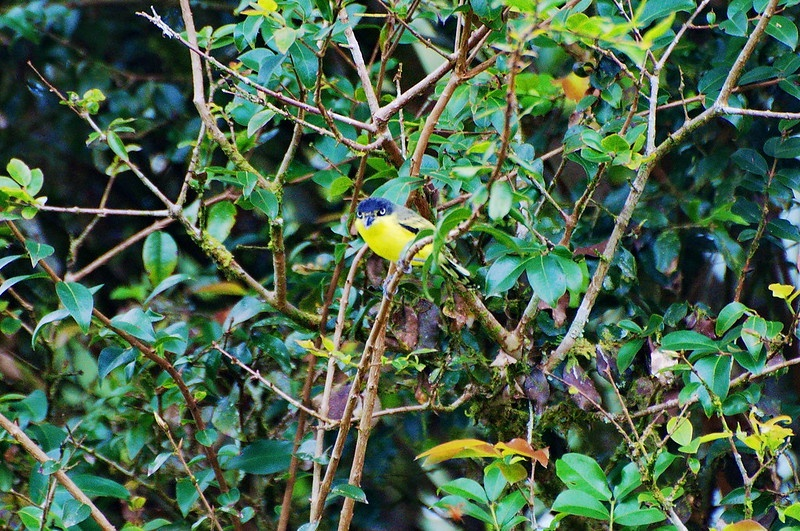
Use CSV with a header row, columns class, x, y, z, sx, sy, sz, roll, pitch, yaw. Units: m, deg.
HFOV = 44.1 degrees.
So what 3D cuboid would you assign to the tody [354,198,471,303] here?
class,x,y,z,sx,sy,sz,roll,pitch,yaw
tody,-0.043,-0.120,5.518,0.882,0.385,0.315,33,100,13
